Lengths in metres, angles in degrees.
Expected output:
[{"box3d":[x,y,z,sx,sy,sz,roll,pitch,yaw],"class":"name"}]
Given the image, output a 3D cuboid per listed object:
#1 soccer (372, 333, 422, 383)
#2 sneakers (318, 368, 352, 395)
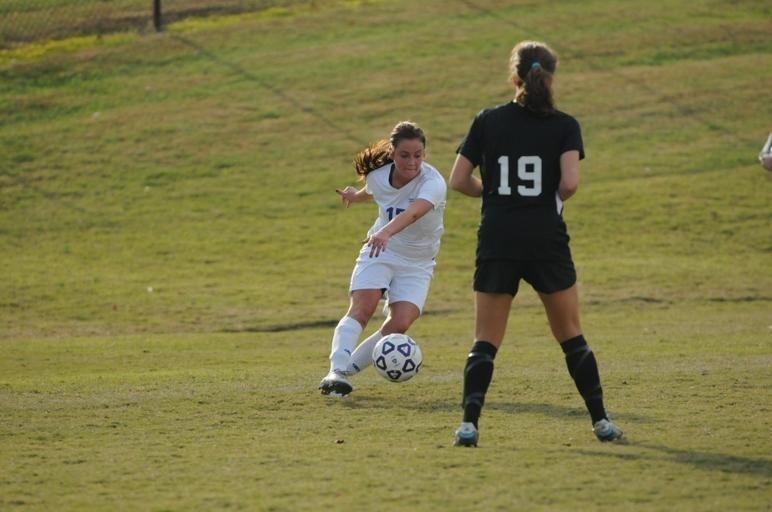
[{"box3d":[0.285,1.713,29.106,0.903,0.821,0.871,-4,10,-28],"class":"soccer"},{"box3d":[-0.813,2.120,28.810,0.687,0.246,0.291,-3,21,6],"class":"sneakers"}]
